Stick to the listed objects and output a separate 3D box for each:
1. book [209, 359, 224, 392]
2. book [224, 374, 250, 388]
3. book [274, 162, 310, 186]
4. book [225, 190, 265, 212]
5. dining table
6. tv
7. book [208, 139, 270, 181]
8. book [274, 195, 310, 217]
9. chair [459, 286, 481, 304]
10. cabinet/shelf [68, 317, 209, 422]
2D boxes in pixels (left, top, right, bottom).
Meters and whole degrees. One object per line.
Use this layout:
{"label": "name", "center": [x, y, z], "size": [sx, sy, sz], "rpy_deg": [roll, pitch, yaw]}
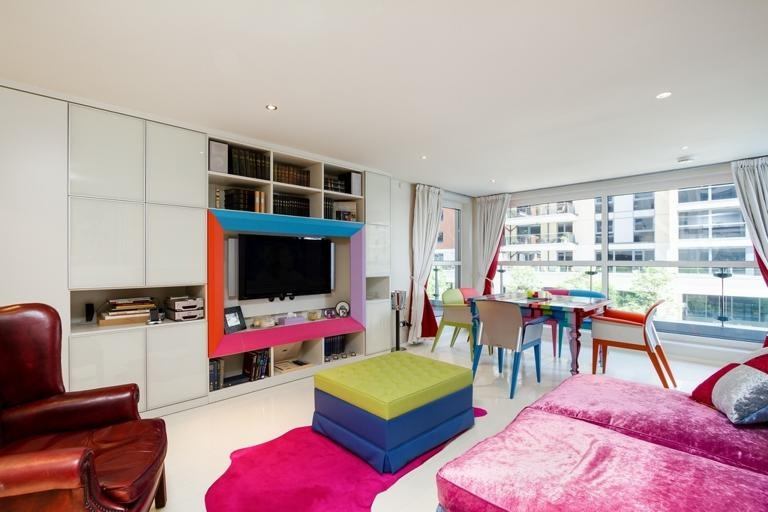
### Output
{"label": "book", "center": [-1.799, 1.274, 5.206], "size": [0.053, 0.251, 0.154], "rpy_deg": [-3, -1, 41]}
{"label": "book", "center": [-1.662, 1.400, 5.450], "size": [0.277, 0.082, 0.346], "rpy_deg": [-2, -2, -20]}
{"label": "book", "center": [-1.129, -0.991, 5.907], "size": [0.192, 0.317, 0.358], "rpy_deg": [-1, -1, 43]}
{"label": "book", "center": [-1.560, -0.597, 5.555], "size": [0.393, 0.269, 0.376], "rpy_deg": [2, -3, 45]}
{"label": "dining table", "center": [2.004, 0.979, 5.932], "size": [1.095, 0.699, 1.427], "rpy_deg": [-3, -3, 39]}
{"label": "tv", "center": [-1.263, 0.133, 5.942], "size": [0.929, 0.581, 0.096], "rpy_deg": [1, -2, -38]}
{"label": "book", "center": [-1.608, -1.066, 5.428], "size": [0.194, 0.323, 0.701], "rpy_deg": [-3, -2, 39]}
{"label": "book", "center": [-1.114, -0.590, 5.803], "size": [0.160, 0.272, 0.309], "rpy_deg": [-6, -5, 41]}
{"label": "chair", "center": [1.253, 0.573, 7.062], "size": [0.219, 0.265, 0.238], "rpy_deg": [3, -10, -17]}
{"label": "cabinet/shelf", "center": [-2.377, 1.077, 4.603], "size": [1.095, 0.765, 0.377], "rpy_deg": [1, -7, -36]}
